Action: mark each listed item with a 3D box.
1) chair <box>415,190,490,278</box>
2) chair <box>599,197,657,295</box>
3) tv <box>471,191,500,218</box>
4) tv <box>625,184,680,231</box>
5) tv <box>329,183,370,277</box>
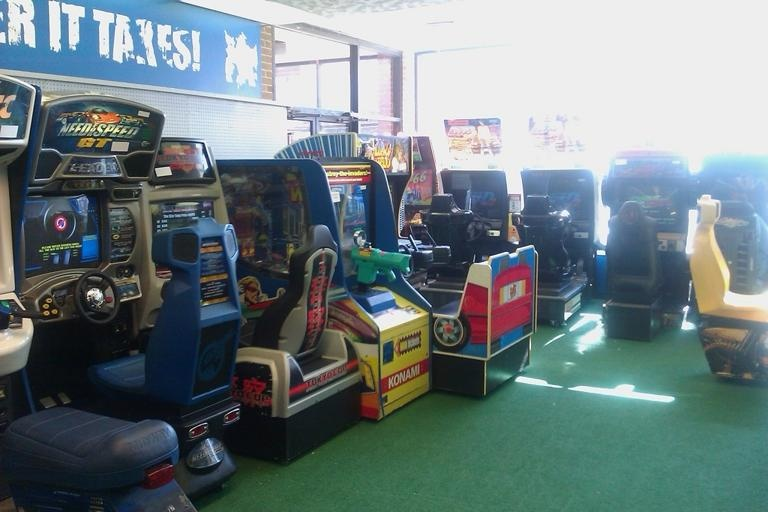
[{"bbox_3d":[0.869,-0.260,6.649,1.057,1.095,0.969,1,7,17],"label":"chair"},{"bbox_3d":[2.871,-0.042,6.107,0.573,1.135,0.324,6,14,27],"label":"chair"},{"bbox_3d":[1.420,-0.702,7.397,0.413,0.370,0.142,6,5,34],"label":"tv"},{"bbox_3d":[3.478,-0.648,6.900,0.436,0.710,0.770,-4,8,-11],"label":"tv"},{"bbox_3d":[-0.298,-0.213,4.550,0.094,0.797,0.401,7,15,31],"label":"tv"}]
